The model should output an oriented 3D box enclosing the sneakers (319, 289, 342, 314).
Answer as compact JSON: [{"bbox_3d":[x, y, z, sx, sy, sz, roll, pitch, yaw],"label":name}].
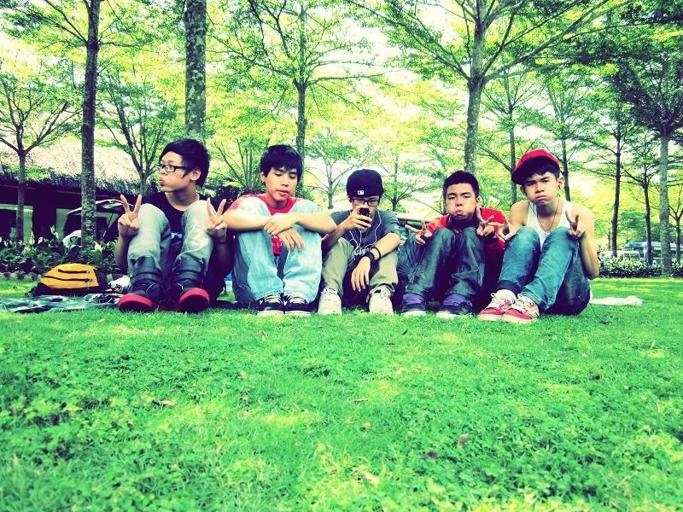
[{"bbox_3d":[-0.101,0.414,5.193,0.164,0.170,0.451,0,-4,-4],"label":"sneakers"}]

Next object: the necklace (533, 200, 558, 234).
[{"bbox_3d":[1.938,-0.372,5.512,0.206,0.287,0.112,-6,-4,19],"label":"necklace"}]

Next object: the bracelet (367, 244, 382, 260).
[{"bbox_3d":[0.316,-0.034,5.410,0.119,0.122,0.126,3,22,-2],"label":"bracelet"}]

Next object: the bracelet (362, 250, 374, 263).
[{"bbox_3d":[0.266,0.000,5.422,0.107,0.099,0.071,1,1,9],"label":"bracelet"}]

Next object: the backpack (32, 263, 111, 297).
[{"bbox_3d":[-2.805,0.248,6.054,0.768,0.317,0.361,0,2,-32],"label":"backpack"}]

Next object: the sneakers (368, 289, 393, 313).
[{"bbox_3d":[0.353,0.395,5.188,0.219,0.220,0.353,1,2,3],"label":"sneakers"}]

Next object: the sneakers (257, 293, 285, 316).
[{"bbox_3d":[-0.595,0.414,4.955,0.229,0.163,0.255,1,2,-8],"label":"sneakers"}]

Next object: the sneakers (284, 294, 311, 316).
[{"bbox_3d":[-0.382,0.424,4.964,0.220,0.150,0.229,1,2,-7],"label":"sneakers"}]

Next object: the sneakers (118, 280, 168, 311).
[{"bbox_3d":[-1.658,0.330,4.817,0.344,0.249,0.239,1,2,-18],"label":"sneakers"}]

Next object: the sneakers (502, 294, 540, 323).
[{"bbox_3d":[1.512,0.436,4.869,0.234,0.206,0.368,2,2,35],"label":"sneakers"}]

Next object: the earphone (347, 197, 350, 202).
[{"bbox_3d":[0.074,-0.546,5.567,0.024,0.033,0.032,-2,7,-1],"label":"earphone"}]

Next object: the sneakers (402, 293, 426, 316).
[{"bbox_3d":[0.644,0.423,5.127,0.210,0.177,0.378,1,2,8],"label":"sneakers"}]

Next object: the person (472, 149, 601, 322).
[{"bbox_3d":[1.798,-0.212,5.094,0.845,1.499,0.998,2,2,25],"label":"person"}]

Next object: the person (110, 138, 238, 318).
[{"bbox_3d":[-1.451,-0.309,5.095,0.998,1.532,0.919,0,1,-22],"label":"person"}]

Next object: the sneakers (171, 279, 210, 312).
[{"bbox_3d":[-1.298,0.338,4.873,0.398,0.263,0.224,2,2,28],"label":"sneakers"}]
